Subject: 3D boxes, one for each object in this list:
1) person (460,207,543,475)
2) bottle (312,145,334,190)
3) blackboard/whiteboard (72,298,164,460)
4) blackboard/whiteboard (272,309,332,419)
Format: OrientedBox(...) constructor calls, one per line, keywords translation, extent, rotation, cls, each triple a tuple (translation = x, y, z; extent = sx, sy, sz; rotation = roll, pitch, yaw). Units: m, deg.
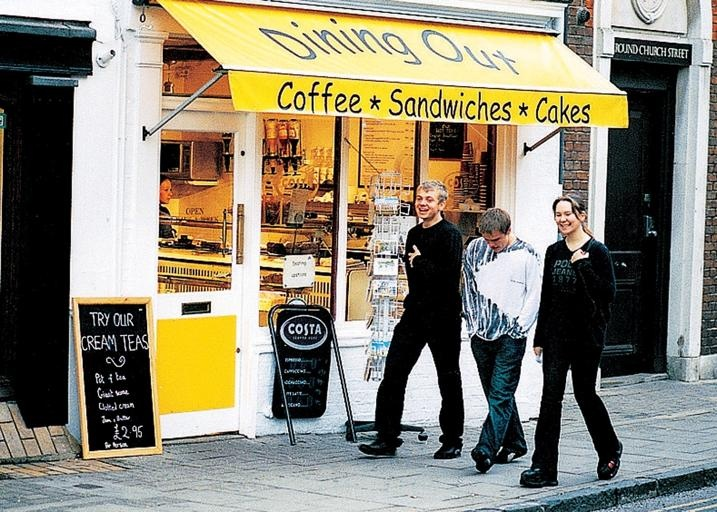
OrientedBox(translation=(1.310, 0.733, 9.428), extent=(0.689, 2.363, 1.126), rotation=(0, -1, 5), cls="person")
OrientedBox(translation=(-0.395, -0.964, 11.217), extent=(0.271, 0.469, 0.066), rotation=(-3, 0, -40), cls="bottle")
OrientedBox(translation=(-2.316, 1.130, 9.757), extent=(0.744, 1.481, 0.307), rotation=(-3, 0, -17), cls="blackboard/whiteboard")
OrientedBox(translation=(-0.574, 1.091, 10.718), extent=(0.632, 1.152, 0.092), rotation=(-3, 0, -22), cls="blackboard/whiteboard")
